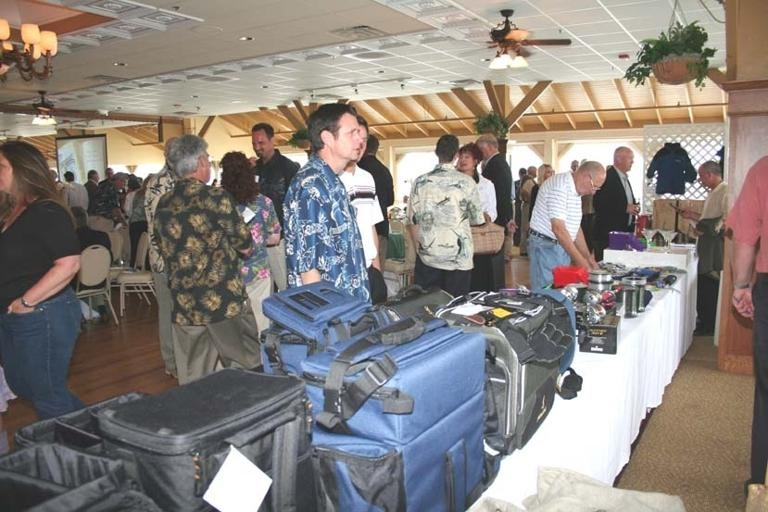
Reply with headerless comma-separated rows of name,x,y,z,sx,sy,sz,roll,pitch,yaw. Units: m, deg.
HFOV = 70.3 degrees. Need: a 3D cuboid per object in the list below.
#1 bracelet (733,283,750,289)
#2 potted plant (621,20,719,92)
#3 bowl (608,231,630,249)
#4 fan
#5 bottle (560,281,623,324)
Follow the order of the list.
bracelet,1.916,0.161,2.941,0.050,0.020,0.037,4,-5,-2
potted plant,2.353,-1.608,4.616,0.728,0.451,0.713,-1,0,-26
bowl,1.972,-0.136,4.639,0.147,0.108,0.148,0,3,0
fan,1.762,-3.108,7.492,0.888,0.337,0.869,10,-18,-34
bottle,1.095,0.246,2.903,0.261,0.113,0.263,-7,18,2
